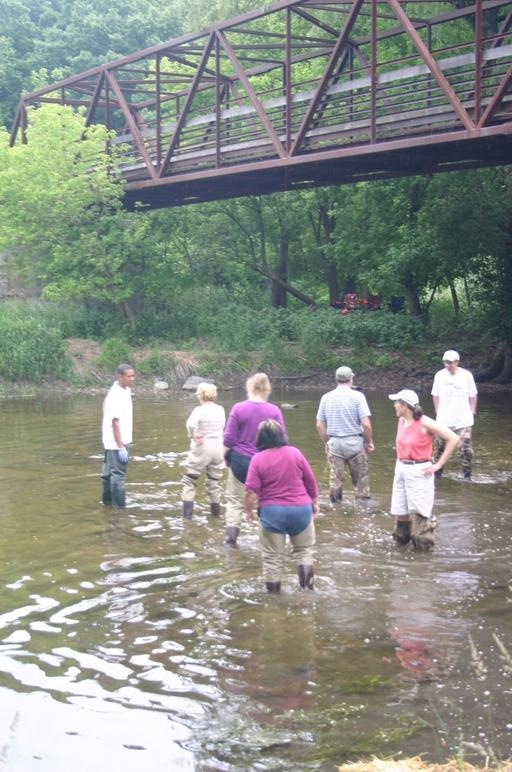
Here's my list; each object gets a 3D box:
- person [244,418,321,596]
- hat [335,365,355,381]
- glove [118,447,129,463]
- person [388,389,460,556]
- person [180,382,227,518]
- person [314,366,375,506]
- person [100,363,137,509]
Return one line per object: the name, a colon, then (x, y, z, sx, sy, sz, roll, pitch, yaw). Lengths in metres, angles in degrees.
person: (0.221, 1.042, 8.339, 0.577, 1.551, 0.349, 0, 6, 0)
hat: (1.080, -0.136, 12.038, 0.213, 0.157, 0.273, 1, 28, 10)
glove: (-1.537, 0.813, 11.656, 0.169, 0.128, 0.048, 7, -10, -30)
person: (1.651, 0.858, 9.868, 0.767, 1.661, 0.648, 2, 7, 22)
person: (-0.616, 0.737, 11.502, 0.495, 1.626, 1.313, -1, 6, -4)
person: (1.120, 0.592, 12.484, 0.665, 1.761, 1.390, 0, 6, 6)
person: (-1.643, 0.602, 11.779, 0.389, 1.763, 0.810, -1, 6, -10)
